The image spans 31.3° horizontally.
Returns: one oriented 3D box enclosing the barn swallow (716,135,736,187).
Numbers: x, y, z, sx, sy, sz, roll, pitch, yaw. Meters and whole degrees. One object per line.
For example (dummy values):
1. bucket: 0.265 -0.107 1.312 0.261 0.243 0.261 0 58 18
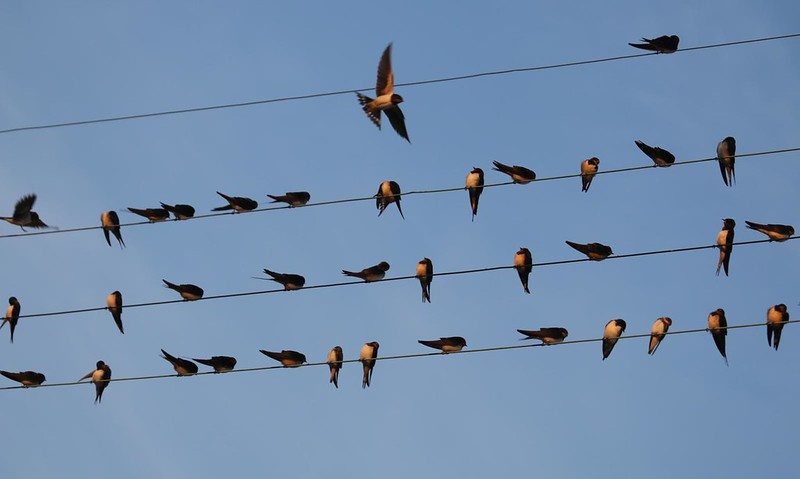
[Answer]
1. barn swallow: 7.046 -1.625 30.656 0.473 1.215 0.365 1 -28 -4
